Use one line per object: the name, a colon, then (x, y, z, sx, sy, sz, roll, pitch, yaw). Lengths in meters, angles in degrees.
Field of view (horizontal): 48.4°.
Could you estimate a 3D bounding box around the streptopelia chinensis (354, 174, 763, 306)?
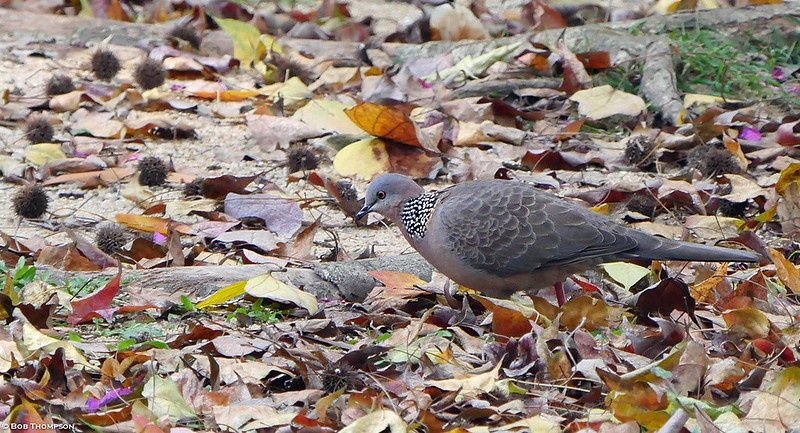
streptopelia chinensis: (1.116, 0.190, 6.235, 2.998, 0.745, 0.906, -1, 102, 3)
